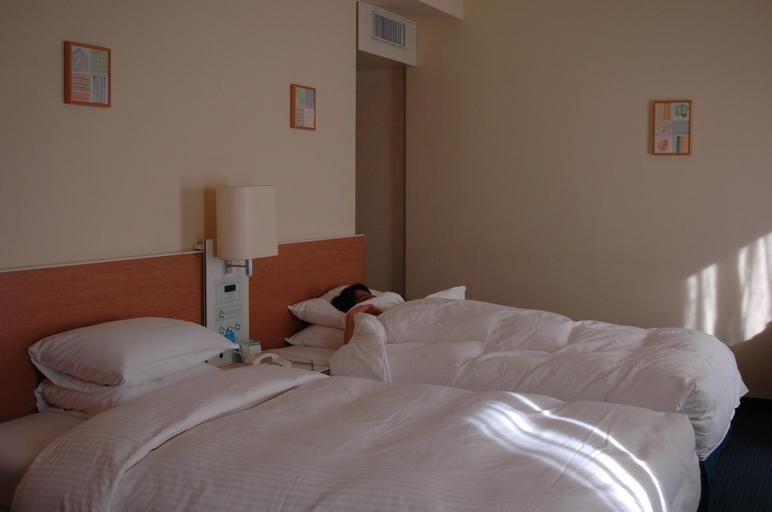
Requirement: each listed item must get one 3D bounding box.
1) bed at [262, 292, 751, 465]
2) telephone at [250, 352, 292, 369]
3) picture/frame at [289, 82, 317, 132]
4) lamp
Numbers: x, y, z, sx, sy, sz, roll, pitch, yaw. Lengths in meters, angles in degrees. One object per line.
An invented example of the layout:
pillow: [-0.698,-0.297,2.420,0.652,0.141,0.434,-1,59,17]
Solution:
bed: [0.788,0.593,3.379,2.101,0.529,1.298,2,5,24]
telephone: [-0.717,0.654,3.509,0.113,0.048,0.154,1,1,20]
picture/frame: [-0.610,-1.116,4.127,0.015,0.317,0.308,8,13,26]
lamp: [-0.903,-0.171,3.612,0.418,0.595,0.302,-6,9,-39]
